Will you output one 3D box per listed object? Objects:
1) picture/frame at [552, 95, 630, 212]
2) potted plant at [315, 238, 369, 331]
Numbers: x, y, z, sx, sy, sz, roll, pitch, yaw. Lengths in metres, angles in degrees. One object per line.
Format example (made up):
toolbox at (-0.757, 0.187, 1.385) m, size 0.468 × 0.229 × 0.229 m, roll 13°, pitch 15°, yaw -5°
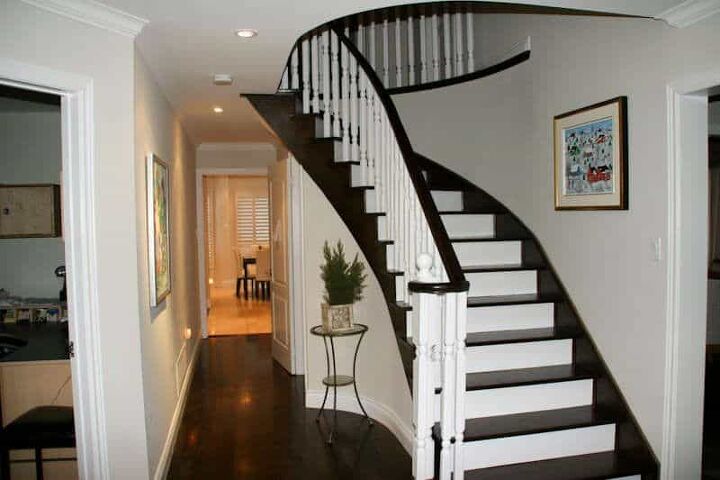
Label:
picture/frame at (1.976, -0.729, 4.794) m, size 0.065 × 0.964 × 0.806 m, roll 1°, pitch -17°, yaw -20°
potted plant at (-0.162, 0.421, 5.640) m, size 0.466 × 0.839 × 0.596 m, roll -1°, pitch 10°, yaw 0°
